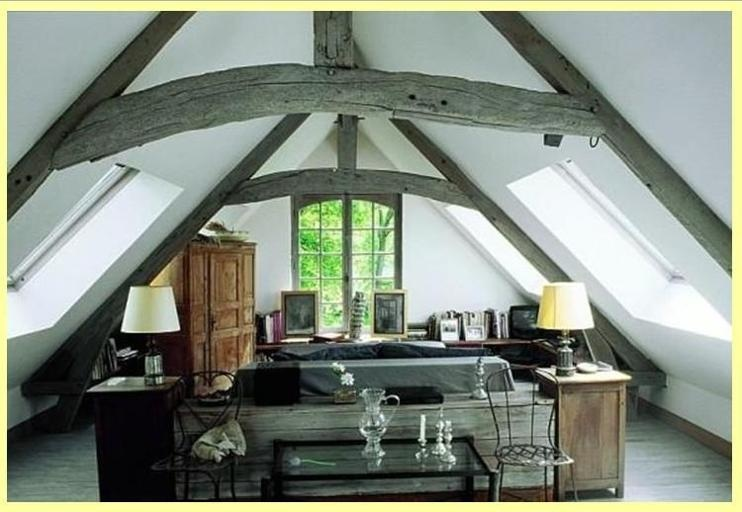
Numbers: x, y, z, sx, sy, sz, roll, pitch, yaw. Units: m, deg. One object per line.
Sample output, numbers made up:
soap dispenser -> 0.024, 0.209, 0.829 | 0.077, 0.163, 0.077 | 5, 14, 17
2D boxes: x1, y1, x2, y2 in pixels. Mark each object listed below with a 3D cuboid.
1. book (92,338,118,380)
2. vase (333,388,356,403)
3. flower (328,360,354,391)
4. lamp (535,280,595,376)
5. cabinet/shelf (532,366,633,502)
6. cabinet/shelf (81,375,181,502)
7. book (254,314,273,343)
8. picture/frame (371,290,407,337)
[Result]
book -> -2.856, 1.126, 6.998 | 0.132, 0.412, 0.345 | 0, 13, -24
vase -> -0.227, 1.219, 5.690 | 0.161, 0.066, 0.114 | 1, -1, 0
flower -> -0.242, 1.039, 5.732 | 0.159, 0.175, 0.270 | -4, 17, -22
lamp -> 1.696, 0.667, 5.711 | 0.547, 0.768, 0.536 | -6, -12, 31
cabinet/shelf -> 1.844, 1.500, 5.764 | 1.036, 1.341, 0.939 | -1, 4, 6
cabinet/shelf -> -1.934, 1.530, 5.970 | 0.939, 1.204, 0.985 | 1, 1, -3
book -> -1.494, 1.014, 9.069 | 0.354, 0.461, 0.355 | 0, 0, -9
picture/frame -> 0.245, 0.811, 8.932 | 0.705, 0.830, 0.090 | 0, -4, -2
